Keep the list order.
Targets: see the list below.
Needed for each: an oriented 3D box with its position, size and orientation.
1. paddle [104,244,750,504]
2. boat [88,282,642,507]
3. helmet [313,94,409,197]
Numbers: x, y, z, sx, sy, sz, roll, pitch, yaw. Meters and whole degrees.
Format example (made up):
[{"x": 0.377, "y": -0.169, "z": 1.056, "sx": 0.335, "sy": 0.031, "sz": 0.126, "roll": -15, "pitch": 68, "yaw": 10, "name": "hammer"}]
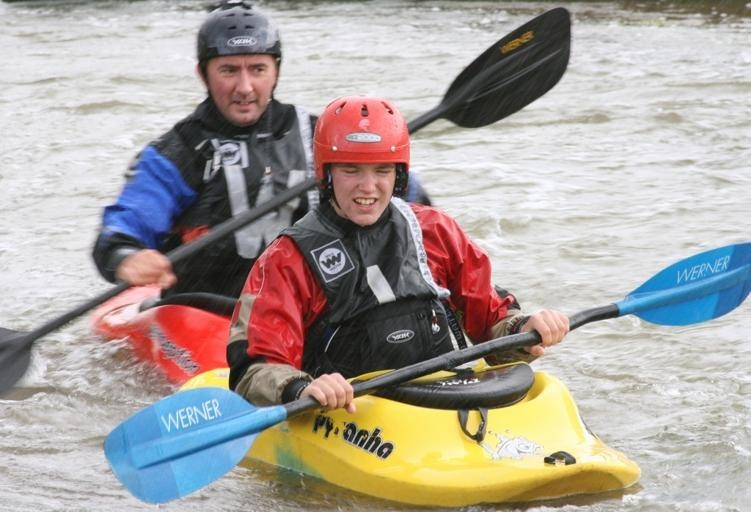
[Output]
[{"x": 0.355, "y": 0.597, "z": 4.209, "sx": 2.867, "sy": 0.807, "sz": 0.833, "roll": -5, "pitch": 23, "yaw": -18, "name": "paddle"}, {"x": -0.227, "y": 0.546, "z": 4.459, "sx": 2.018, "sy": 0.325, "sz": 0.954, "roll": 4, "pitch": 6, "yaw": 35, "name": "boat"}, {"x": -0.060, "y": -0.502, "z": 4.513, "sx": 0.436, "sy": 0.392, "sz": 0.493, "roll": 0, "pitch": -4, "yaw": -5, "name": "helmet"}]
